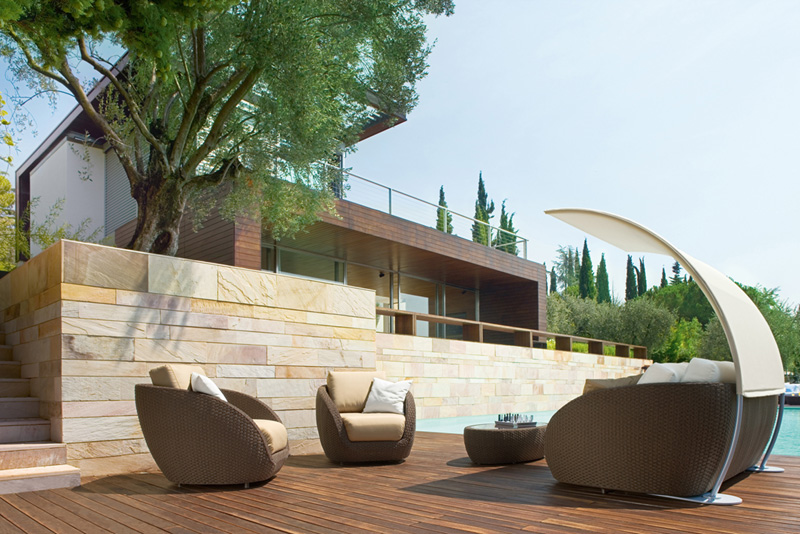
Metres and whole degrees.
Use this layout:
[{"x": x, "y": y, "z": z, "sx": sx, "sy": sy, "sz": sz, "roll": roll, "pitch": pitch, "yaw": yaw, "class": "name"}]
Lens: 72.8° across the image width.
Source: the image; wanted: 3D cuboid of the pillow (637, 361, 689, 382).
[{"x": 2.420, "y": 0.970, "z": 5.030, "sx": 0.295, "sy": 0.116, "sz": 0.294, "roll": -22, "pitch": -6, "yaw": 13, "class": "pillow"}]

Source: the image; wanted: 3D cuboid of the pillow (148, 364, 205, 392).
[{"x": -2.344, "y": 1.142, "z": 5.716, "sx": 0.405, "sy": 0.154, "sz": 0.431, "roll": 15, "pitch": -19, "yaw": -28, "class": "pillow"}]

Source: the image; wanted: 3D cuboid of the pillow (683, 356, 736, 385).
[{"x": 2.818, "y": 0.938, "z": 4.960, "sx": 0.322, "sy": 0.108, "sz": 0.371, "roll": -1, "pitch": -5, "yaw": 13, "class": "pillow"}]

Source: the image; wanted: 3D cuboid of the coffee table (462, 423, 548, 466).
[{"x": 1.180, "y": 2.066, "z": 6.514, "sx": 1.012, "sy": 0.368, "sz": 1.014, "roll": 3, "pitch": -21, "yaw": -38, "class": "coffee table"}]

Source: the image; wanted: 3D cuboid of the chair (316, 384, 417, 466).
[{"x": -0.387, "y": 1.978, "z": 6.313, "sx": 0.992, "sy": 0.735, "sz": 0.960, "roll": 6, "pitch": -32, "yaw": -12, "class": "chair"}]

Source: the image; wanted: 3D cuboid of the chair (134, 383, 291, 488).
[{"x": -2.092, "y": 1.821, "z": 6.033, "sx": 1.580, "sy": 1.023, "sz": 1.575, "roll": 0, "pitch": -12, "yaw": 0, "class": "chair"}]

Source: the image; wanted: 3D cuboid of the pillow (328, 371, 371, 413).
[{"x": -0.656, "y": 1.595, "z": 6.896, "sx": 0.481, "sy": 0.315, "sz": 0.182, "roll": -2, "pitch": -34, "yaw": -20, "class": "pillow"}]

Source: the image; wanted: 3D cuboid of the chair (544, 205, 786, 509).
[{"x": 2.934, "y": 0.950, "z": 5.871, "sx": 1.954, "sy": 2.495, "sz": 2.674, "roll": -5, "pitch": -9, "yaw": 39, "class": "chair"}]
